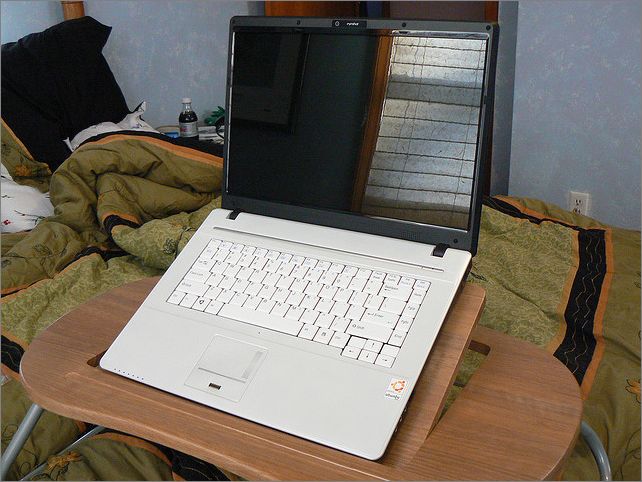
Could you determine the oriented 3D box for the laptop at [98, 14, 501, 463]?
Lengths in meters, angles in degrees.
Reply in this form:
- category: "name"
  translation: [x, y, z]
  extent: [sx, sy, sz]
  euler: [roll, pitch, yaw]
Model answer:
- category: "laptop"
  translation: [0.025, -0.006, 0.864]
  extent: [0.559, 0.420, 0.632]
  euler: [15, 47, 23]
